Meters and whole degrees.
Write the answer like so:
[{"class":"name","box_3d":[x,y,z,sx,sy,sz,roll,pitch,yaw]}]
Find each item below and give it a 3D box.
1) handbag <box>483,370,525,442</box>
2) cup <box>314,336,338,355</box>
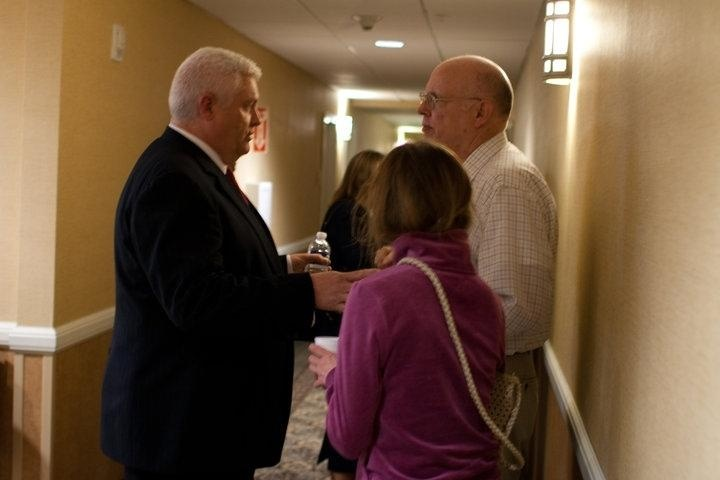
[{"class":"handbag","box_3d":[0.434,0.490,1.714,0.053,0.171,0.125,6,3,33]},{"class":"cup","box_3d":[-0.109,0.339,1.898,0.069,0.047,0.071,2,0,0]}]
